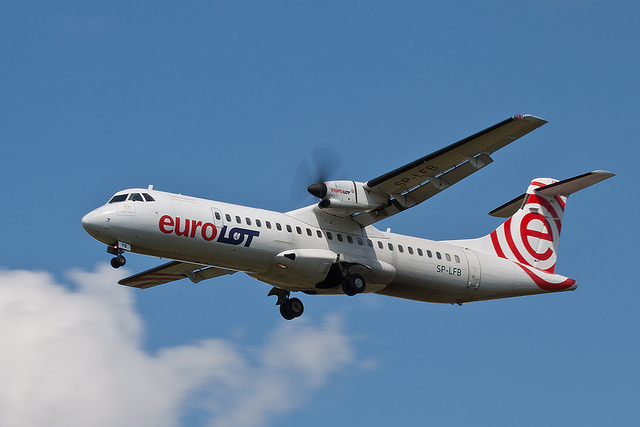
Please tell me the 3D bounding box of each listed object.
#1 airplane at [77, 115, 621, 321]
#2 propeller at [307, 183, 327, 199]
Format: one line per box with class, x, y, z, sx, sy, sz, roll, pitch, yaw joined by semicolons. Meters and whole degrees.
airplane;0.491;0.664;36.895;10.283;3.191;9.551;13;-28;-22
propeller;-0.058;-0.706;36.869;0.622;0.445;0.364;-1;-43;1
